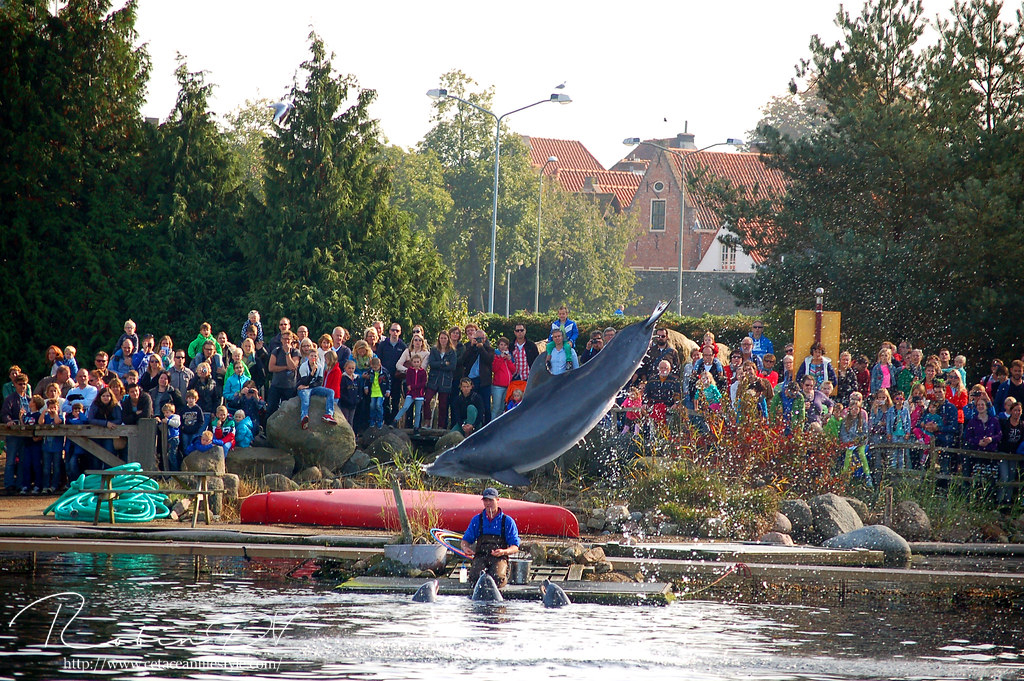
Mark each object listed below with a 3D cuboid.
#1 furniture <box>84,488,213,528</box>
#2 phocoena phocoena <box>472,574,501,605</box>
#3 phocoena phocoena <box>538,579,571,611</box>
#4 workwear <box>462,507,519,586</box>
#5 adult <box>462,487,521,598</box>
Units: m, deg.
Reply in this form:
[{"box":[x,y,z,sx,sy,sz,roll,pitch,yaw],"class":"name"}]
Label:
[{"box":[-8.361,3.814,56.992,2.847,0.960,1.346,2,-7,-11],"class":"furniture"},{"box":[-0.519,5.262,52.585,0.667,0.626,0.416,1,-7,-1],"class":"phocoena phocoena"},{"box":[0.938,5.399,52.353,0.608,0.562,0.623,0,-7,3],"class":"phocoena phocoena"},{"box":[-0.457,4.530,53.422,1.341,2.069,0.659,0,-37,1],"class":"workwear"},{"box":[-0.464,4.494,53.754,1.466,3.157,1.158,-5,-47,3],"class":"adult"}]
